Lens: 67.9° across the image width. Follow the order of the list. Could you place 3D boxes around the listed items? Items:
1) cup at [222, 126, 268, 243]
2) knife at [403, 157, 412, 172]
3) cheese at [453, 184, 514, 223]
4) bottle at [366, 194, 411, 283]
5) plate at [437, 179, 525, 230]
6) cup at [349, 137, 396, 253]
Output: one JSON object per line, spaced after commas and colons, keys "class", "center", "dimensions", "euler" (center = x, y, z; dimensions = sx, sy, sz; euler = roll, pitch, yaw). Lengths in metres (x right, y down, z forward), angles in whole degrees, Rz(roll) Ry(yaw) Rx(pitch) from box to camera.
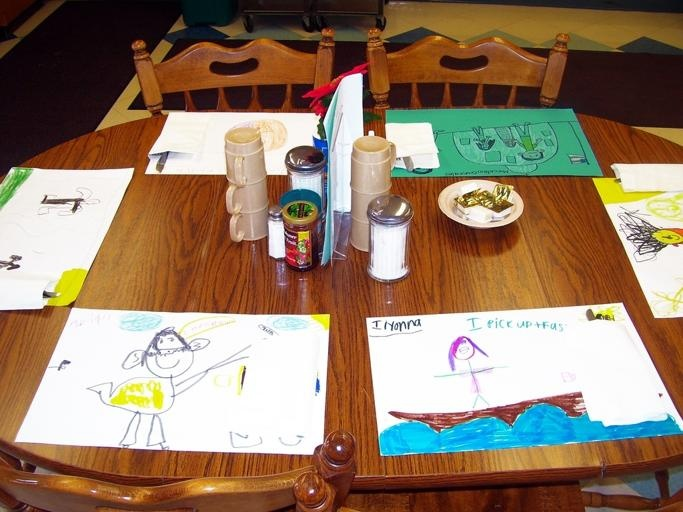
{"class": "cup", "center": [-0.175, -0.144, 1.078], "dimensions": [0.120, 0.224, 0.131], "euler": [1, 41, -1]}
{"class": "knife", "center": [0.166, -0.229, 1.272], "dimensions": [0.018, 0.007, 0.035], "euler": [-6, 86, 34]}
{"class": "cheese", "center": [0.321, -0.117, 1.135], "dimensions": [0.104, 0.030, 0.103], "euler": [16, 41, 25]}
{"class": "bottle", "center": [0.095, -0.034, 0.989], "dimensions": [0.081, 0.150, 0.106], "euler": [0, 52, 4]}
{"class": "plate", "center": [0.313, -0.115, 1.140], "dimensions": [0.142, 0.035, 0.138], "euler": [-29, 50, -23]}
{"class": "cup", "center": [0.062, -0.120, 0.998], "dimensions": [0.090, 0.205, 0.161], "euler": [10, 35, 16]}
